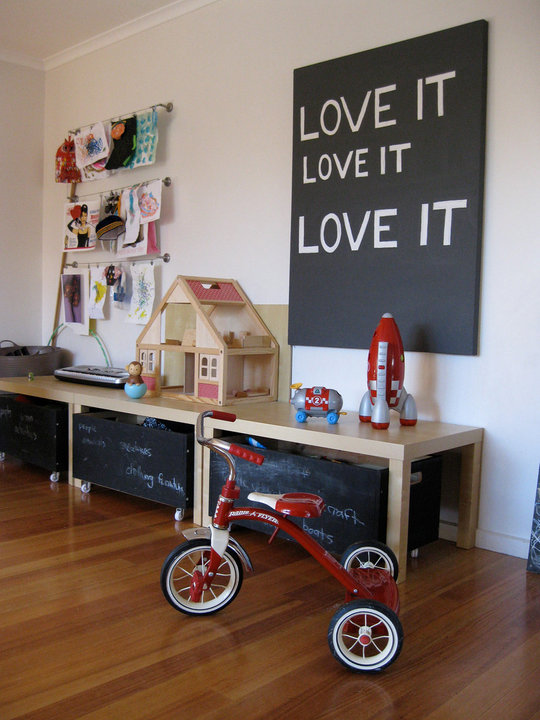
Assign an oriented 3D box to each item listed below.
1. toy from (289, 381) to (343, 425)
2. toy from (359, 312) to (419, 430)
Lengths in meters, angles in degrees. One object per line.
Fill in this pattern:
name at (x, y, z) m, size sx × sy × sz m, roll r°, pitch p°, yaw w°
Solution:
toy at (0.152, 0.152, 1.931) m, size 0.150 × 0.111 × 0.100 m, roll 3°, pitch 1°, yaw 21°
toy at (0.376, 0.031, 1.839) m, size 0.181 × 0.375 × 0.176 m, roll 1°, pitch -2°, yaw 10°
